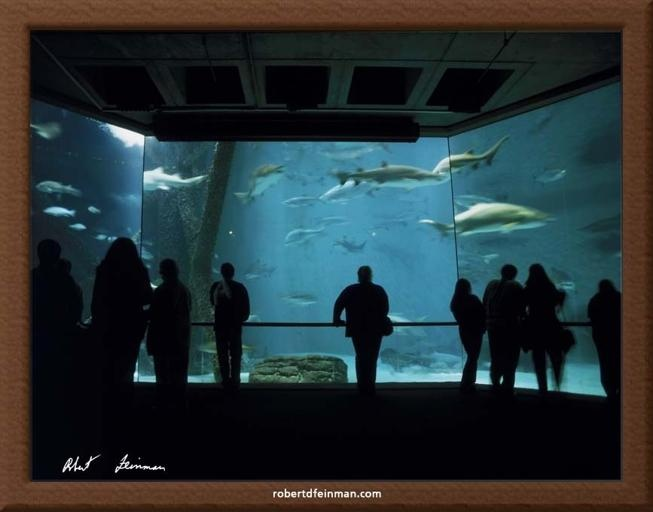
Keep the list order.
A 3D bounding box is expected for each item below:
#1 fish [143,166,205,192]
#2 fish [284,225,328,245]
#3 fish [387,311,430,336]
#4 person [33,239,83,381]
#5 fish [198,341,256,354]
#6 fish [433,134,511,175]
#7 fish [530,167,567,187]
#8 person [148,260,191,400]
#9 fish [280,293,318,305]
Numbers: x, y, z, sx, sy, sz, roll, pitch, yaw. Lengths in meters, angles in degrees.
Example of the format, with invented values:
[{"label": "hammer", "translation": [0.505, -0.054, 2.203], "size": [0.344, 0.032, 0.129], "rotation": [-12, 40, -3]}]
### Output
[{"label": "fish", "translation": [-0.756, -0.387, 3.279], "size": [0.365, 0.077, 0.087], "rotation": [3, 33, -8]}, {"label": "fish", "translation": [-0.106, -0.103, 3.294], "size": [0.196, 0.084, 0.038], "rotation": [0, -6, -4]}, {"label": "fish", "translation": [0.379, 0.331, 3.223], "size": [0.262, 0.081, 0.080], "rotation": [-5, -9, 39]}, {"label": "person", "translation": [-1.305, 0.238, 3.171], "size": [0.227, 0.646, 0.078], "rotation": [2, -6, -19]}, {"label": "fish", "translation": [-0.493, 0.454, 3.257], "size": [0.270, 0.060, 0.034], "rotation": [0, -6, -4]}, {"label": "fish", "translation": [0.719, -0.498, 3.329], "size": [0.499, 0.181, 0.140], "rotation": [-5, 36, 10]}, {"label": "fish", "translation": [1.109, -0.404, 3.265], "size": [0.161, 0.051, 0.059], "rotation": [-5, 12, 27]}, {"label": "person", "translation": [-0.776, 0.347, 3.217], "size": [0.203, 0.662, 0.076], "rotation": [1, -6, -11]}, {"label": "fish", "translation": [-0.126, 0.218, 3.306], "size": [0.223, 0.070, 0.061], "rotation": [0, -13, -1]}]
